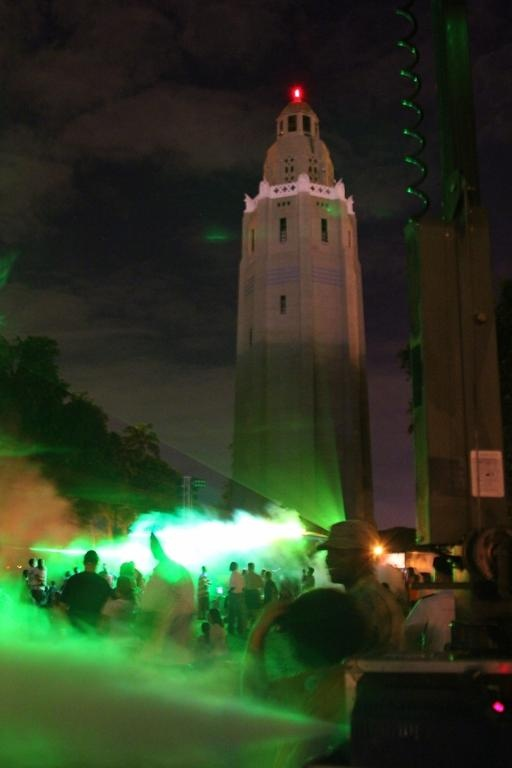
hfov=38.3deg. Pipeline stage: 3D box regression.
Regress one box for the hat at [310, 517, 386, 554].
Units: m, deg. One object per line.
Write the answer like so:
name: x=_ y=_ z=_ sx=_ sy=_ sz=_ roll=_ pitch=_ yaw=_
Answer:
hat: x=0.365 y=0.541 z=2.634 sx=0.173 sy=0.078 sz=0.119 roll=5 pitch=-25 yaw=-5
